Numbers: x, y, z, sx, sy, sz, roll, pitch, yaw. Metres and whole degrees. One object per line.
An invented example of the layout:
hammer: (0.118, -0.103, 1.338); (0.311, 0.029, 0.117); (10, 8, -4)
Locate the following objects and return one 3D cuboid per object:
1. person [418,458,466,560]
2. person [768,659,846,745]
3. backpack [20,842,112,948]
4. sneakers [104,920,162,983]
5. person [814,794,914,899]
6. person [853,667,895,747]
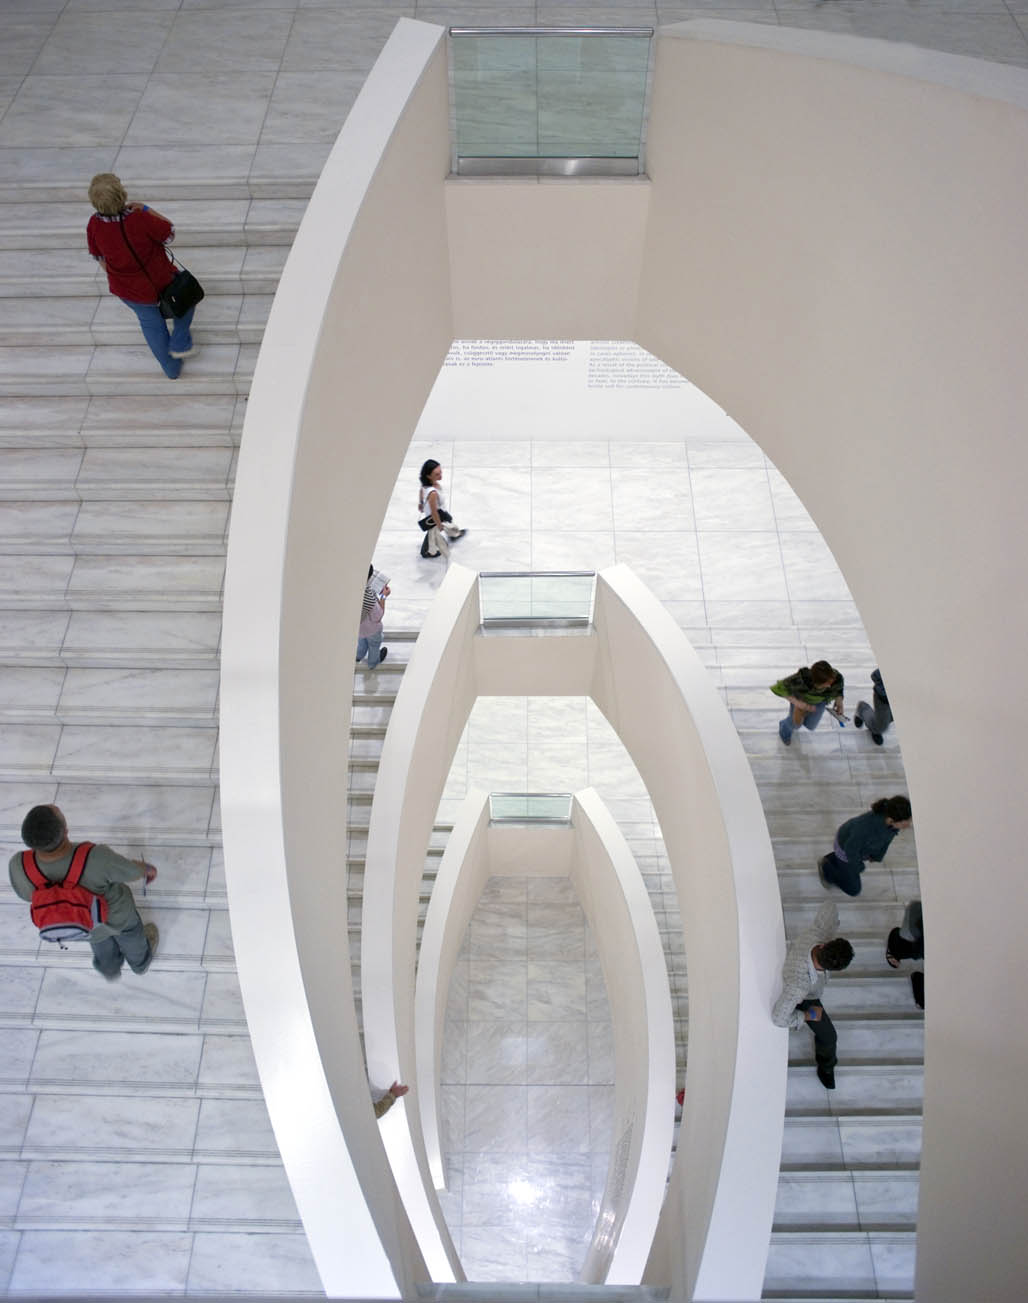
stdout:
person: (-0.774, -1.493, 13.161); (0.441, 1.134, 0.510); (4, 46, 10)
person: (2.428, 0.455, 10.389); (0.458, 0.908, 0.498); (-5, 67, 2)
backpack: (-2.275, 1.246, 6.366); (0.354, 0.461, 0.461); (-5, 38, -2)
sneakers: (-2.022, 1.590, 6.656); (0.194, 0.333, 0.250); (46, 49, 14)
person: (2.466, 1.390, 8.926); (0.399, 0.998, 0.399); (-2, 56, -11)
person: (2.856, 0.478, 9.965); (0.289, 1.203, 0.364); (-14, 79, 9)
